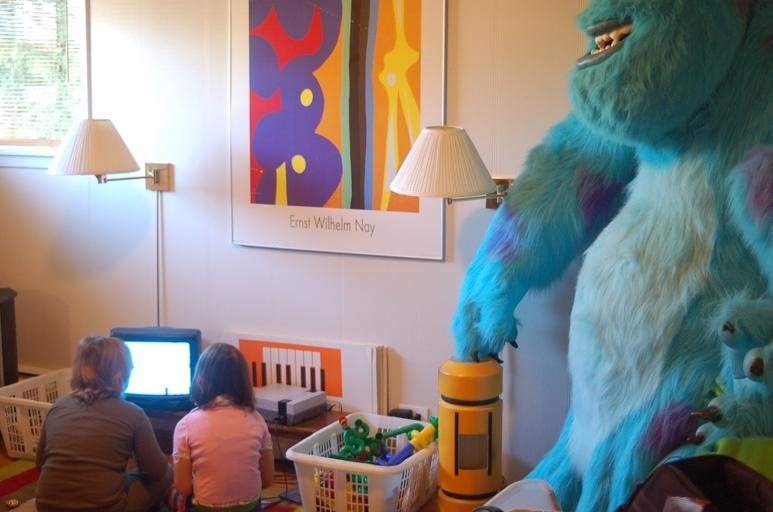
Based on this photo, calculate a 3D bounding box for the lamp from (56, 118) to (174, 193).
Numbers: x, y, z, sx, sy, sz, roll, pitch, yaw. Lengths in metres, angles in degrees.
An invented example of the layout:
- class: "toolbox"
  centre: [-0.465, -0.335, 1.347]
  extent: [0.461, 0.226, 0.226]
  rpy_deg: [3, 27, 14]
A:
- class: "lamp"
  centre: [-1.286, -0.467, 3.112]
  extent: [0.347, 0.309, 0.451]
  rpy_deg: [2, 2, 26]

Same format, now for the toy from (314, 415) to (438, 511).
- class: "toy"
  centre: [-0.040, 0.765, 2.519]
  extent: [0.289, 0.186, 0.416]
  rpy_deg: [3, 6, 28]

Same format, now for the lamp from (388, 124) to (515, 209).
- class: "lamp"
  centre: [0.212, -0.350, 2.519]
  extent: [0.407, 0.241, 0.421]
  rpy_deg: [0, 11, 5]

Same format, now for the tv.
- class: "tv"
  centre: [-1.011, 0.487, 2.919]
  extent: [0.328, 0.326, 0.206]
  rpy_deg: [3, 5, 11]
